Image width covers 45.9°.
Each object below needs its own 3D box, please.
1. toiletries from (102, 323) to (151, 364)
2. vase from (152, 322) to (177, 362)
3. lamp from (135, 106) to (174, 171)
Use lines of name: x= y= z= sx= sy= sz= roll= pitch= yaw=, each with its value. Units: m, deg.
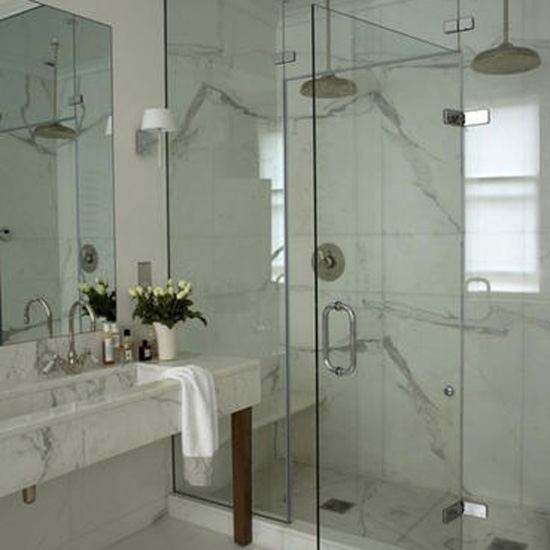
toiletries: x=-0.719 y=0.317 z=3.129 sx=0.231 sy=0.267 sz=0.142 roll=-2 pitch=3 yaw=-23
vase: x=-0.512 y=0.315 z=3.056 sx=0.130 sy=0.195 sz=0.146 roll=1 pitch=-4 yaw=-24
lamp: x=-0.606 y=-0.710 z=3.295 sx=0.201 sy=0.312 sz=0.302 roll=-3 pitch=6 yaw=-12
